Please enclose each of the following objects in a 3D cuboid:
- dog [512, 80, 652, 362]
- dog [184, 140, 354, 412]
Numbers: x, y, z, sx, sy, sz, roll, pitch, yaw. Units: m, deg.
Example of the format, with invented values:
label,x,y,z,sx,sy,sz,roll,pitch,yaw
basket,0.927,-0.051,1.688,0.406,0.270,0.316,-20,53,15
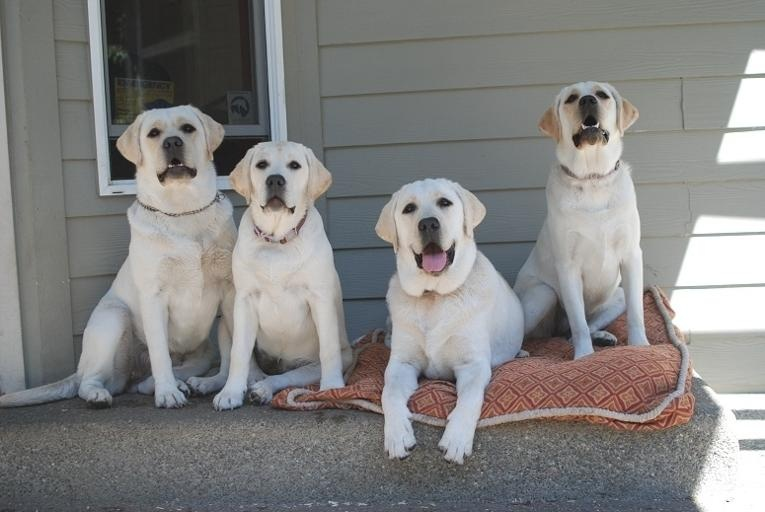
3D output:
label,x,y,z,sx,sy,sz,roll,pitch,yaw
dog,1.614,-0.215,6.839,1.118,2.203,0.920,10,24,24
dog,-0.770,0.160,6.545,0.874,1.910,0.948,-4,23,-9
